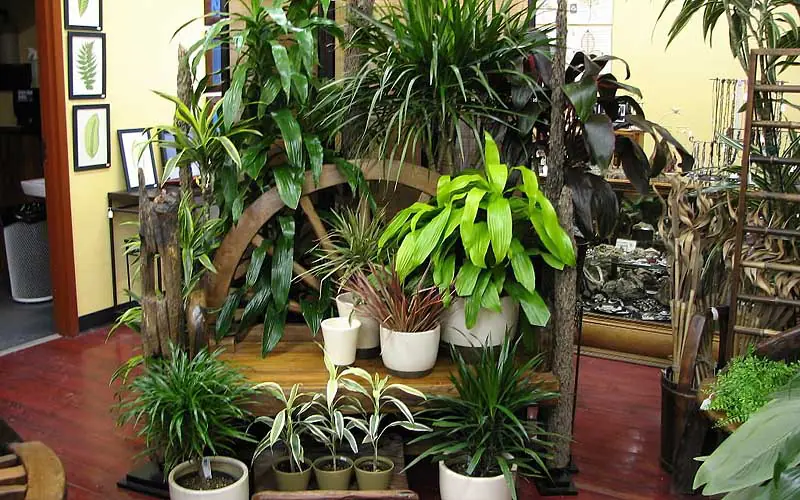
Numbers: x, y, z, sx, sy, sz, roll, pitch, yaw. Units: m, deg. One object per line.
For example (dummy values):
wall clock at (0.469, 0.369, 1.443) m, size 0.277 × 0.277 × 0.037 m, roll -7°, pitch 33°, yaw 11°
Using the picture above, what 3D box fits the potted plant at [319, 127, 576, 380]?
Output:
potted plant at (0.293, -0.073, 3.450) m, size 1.462 × 1.215 × 1.133 m, roll -1°, pitch 13°, yaw 4°

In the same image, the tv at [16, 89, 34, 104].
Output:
tv at (-4.233, -1.752, 6.243) m, size 0.172 × 0.128 × 0.099 m, roll 3°, pitch 6°, yaw 17°

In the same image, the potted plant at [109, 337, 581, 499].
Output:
potted plant at (-0.375, 0.938, 2.960) m, size 2.259 × 0.769 × 0.692 m, roll 2°, pitch 8°, yaw 4°
